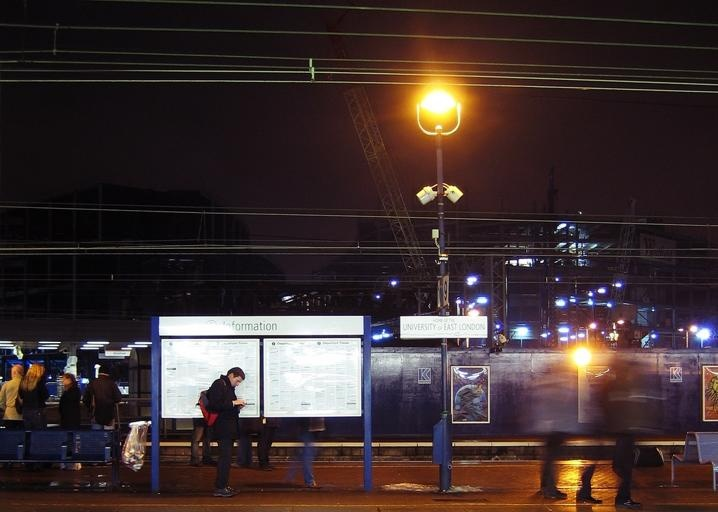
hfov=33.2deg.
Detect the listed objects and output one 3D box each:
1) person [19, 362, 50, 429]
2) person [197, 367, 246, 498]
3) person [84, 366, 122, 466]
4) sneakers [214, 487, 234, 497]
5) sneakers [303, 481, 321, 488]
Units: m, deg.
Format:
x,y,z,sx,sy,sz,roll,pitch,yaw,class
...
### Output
x,y,z,sx,sy,sz,roll,pitch,yaw,class
-10.525,4.474,38.900,0.866,2.104,0.722,2,-9,-16,person
-4.145,5.311,36.650,1.234,3.881,0.583,1,-9,-8,person
-8.231,4.736,39.023,0.971,2.439,0.861,10,-6,30,person
-4.123,7.131,36.648,0.541,0.204,0.284,-1,-1,6,sneakers
-1.467,7.110,37.568,0.528,0.201,0.172,-2,32,1,sneakers
